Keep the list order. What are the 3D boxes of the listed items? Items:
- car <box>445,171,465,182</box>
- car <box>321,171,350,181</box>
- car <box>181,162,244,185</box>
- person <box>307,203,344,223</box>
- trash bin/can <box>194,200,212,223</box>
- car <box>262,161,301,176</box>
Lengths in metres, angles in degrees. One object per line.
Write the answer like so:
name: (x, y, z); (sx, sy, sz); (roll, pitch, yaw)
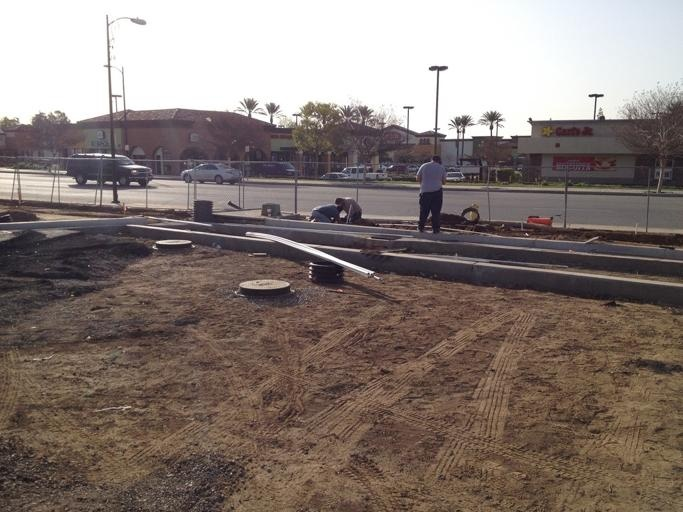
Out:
car: (9.636, -6.887, 45.581); (1.309, 0.660, 4.121); (2, 13, 10)
car: (-0.354, -7.369, 47.696); (2.761, 0.795, 1.191); (-1, 6, -22)
car: (-9.971, -6.405, 40.682); (3.241, 1.579, 3.560); (-9, 15, -32)
person: (-0.428, -1.207, 15.188); (0.803, 0.404, 0.549); (-6, 25, -10)
trash bin/can: (-4.414, -1.447, 17.112); (0.725, 0.715, 0.688); (0, 2, -8)
car: (-5.925, -8.350, 50.645); (2.000, 1.533, 6.602); (-5, 13, -18)
